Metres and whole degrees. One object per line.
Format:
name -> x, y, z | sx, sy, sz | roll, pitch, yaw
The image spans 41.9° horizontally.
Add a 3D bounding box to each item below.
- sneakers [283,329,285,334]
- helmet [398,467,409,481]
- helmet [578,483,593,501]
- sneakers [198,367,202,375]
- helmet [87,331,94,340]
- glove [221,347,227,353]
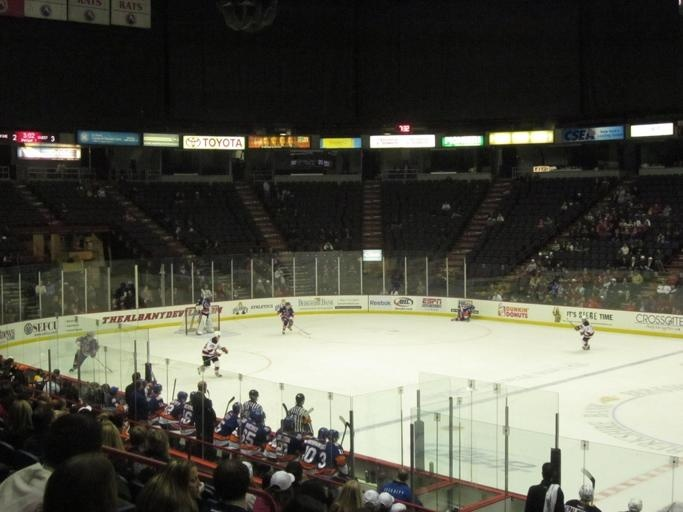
sneakers -> -1.956, 2.539, 30.793 | 0.103, 0.106, 0.186 | 4, 2, -2
helmet -> 1.116, 3.848, 15.892 | 0.164, 0.206, 0.201 | 6, 11, 11
helmet -> 4.184, 3.980, 15.208 | 0.183, 0.249, 0.253 | 9, -46, 13
sneakers -> -2.925, 2.340, 18.521 | 0.094, 0.105, 0.122 | 1, -8, 1
helmet -> -5.680, 1.749, 20.191 | 0.141, 0.137, 0.138 | -3, 8, -31
glove -> -3.310, 2.621, 25.246 | 0.251, 0.132, 0.360 | 2, 0, -7
